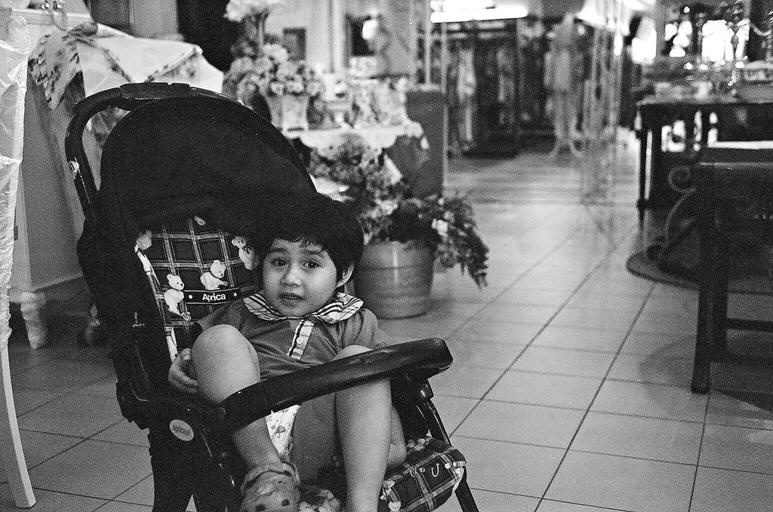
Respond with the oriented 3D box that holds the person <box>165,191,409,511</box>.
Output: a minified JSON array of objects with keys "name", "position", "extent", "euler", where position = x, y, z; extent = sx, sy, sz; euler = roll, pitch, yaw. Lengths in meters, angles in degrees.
[{"name":"person","position":[-0.217,0.336,1.685],"extent":[0.522,0.787,0.683],"euler":[5,-14,-2]}]

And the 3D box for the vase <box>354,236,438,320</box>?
[{"name":"vase","position":[0.042,0.116,2.864],"extent":[0.369,0.283,0.340],"euler":[-2,-5,18]}]

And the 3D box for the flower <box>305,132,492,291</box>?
[{"name":"flower","position":[0.071,-0.249,2.783],"extent":[0.604,0.792,0.321],"euler":[-1,9,23]}]
